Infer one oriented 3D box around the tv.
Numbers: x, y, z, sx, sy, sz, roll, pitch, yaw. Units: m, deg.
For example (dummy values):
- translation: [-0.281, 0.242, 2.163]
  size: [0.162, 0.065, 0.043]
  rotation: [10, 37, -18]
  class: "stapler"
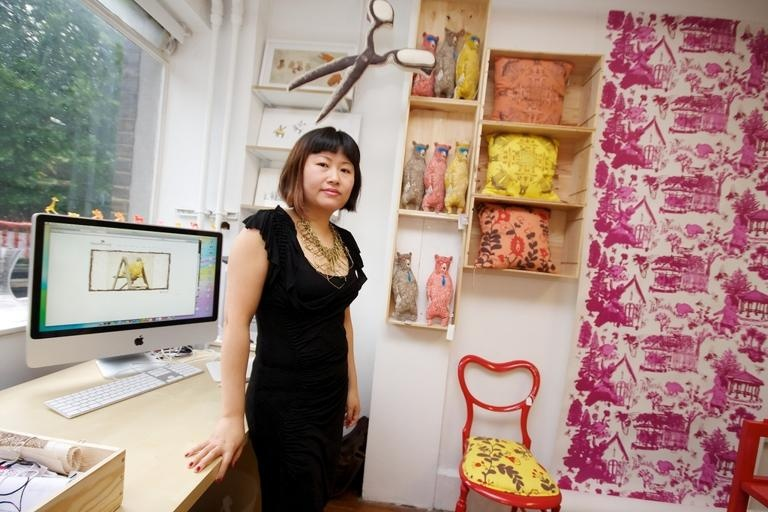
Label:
- translation: [-1.448, 0.234, 2.768]
  size: [0.940, 0.733, 0.300]
  rotation: [3, -5, -34]
  class: "tv"
